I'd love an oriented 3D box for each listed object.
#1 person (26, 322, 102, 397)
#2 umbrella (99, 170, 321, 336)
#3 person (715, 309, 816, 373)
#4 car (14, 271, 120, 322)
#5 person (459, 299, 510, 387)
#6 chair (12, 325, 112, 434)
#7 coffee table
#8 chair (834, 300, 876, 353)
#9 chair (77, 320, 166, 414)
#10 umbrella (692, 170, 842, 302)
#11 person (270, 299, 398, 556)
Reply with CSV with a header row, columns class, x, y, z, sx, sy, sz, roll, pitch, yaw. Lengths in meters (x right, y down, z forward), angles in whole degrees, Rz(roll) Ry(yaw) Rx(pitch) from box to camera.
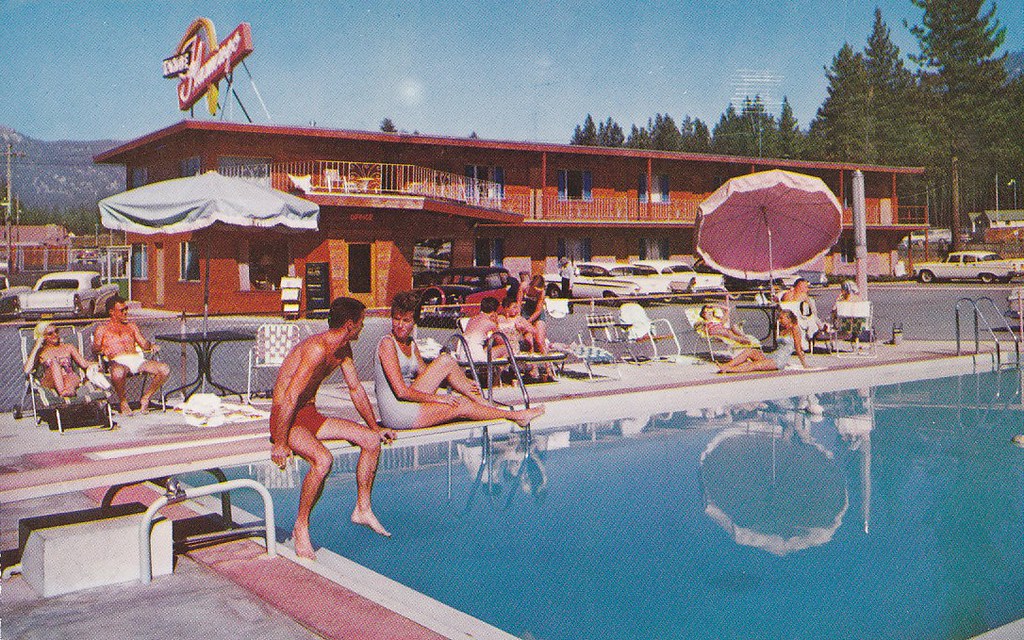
class,x,y,z,sx,sy,sz,roll,pitch,yaw
person,-6.869,0.623,13.899,0.959,1.076,1.666,-6,10,-42
umbrella,-5.205,-1.070,15.947,2.758,1.876,2.850,7,13,37
person,5.254,0.546,18.575,2.390,1.266,0.914,-9,16,-32
car,-14.317,-0.710,29.374,1.523,1.079,3.446,0,7,4
person,-0.411,0.262,16.181,0.825,1.348,0.861,-1,20,3
chair,-6.779,0.848,14.023,1.039,1.502,1.248,-12,18,-42
coffee table,-5.315,0.669,15.862,1.425,1.093,1.440,-1,2,-24
chair,7.710,0.076,20.675,0.920,1.190,0.878,4,14,33
chair,-6.241,0.601,14.895,1.239,1.728,0.987,4,6,41
umbrella,6.124,-2.200,22.087,3.477,2.954,2.373,-4,14,-16
person,-2.180,1.192,10.731,1.260,2.737,1.165,-4,13,-17
